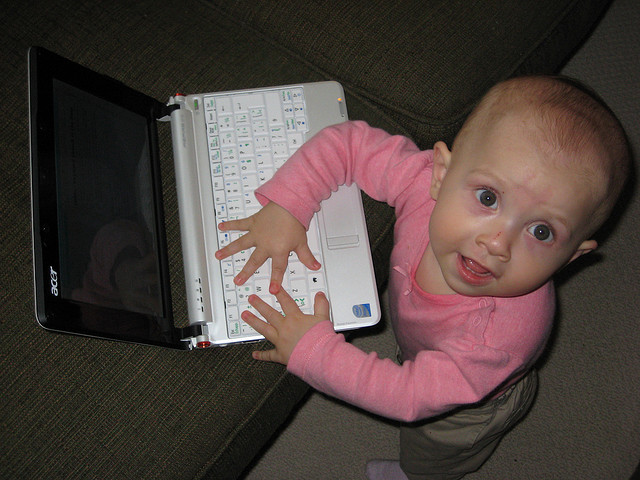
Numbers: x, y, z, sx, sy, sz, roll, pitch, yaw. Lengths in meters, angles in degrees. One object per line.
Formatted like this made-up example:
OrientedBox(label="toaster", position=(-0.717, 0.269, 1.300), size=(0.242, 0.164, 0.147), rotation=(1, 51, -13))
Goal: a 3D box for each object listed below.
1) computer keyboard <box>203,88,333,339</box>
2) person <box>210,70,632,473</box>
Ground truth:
OrientedBox(label="computer keyboard", position=(-0.126, -0.077, 1.307), size=(0.239, 0.321, 0.484), rotation=(-7, 49, 2))
OrientedBox(label="person", position=(0.212, -0.002, 1.265), size=(0.761, 0.588, 0.649), rotation=(14, 53, 19))
